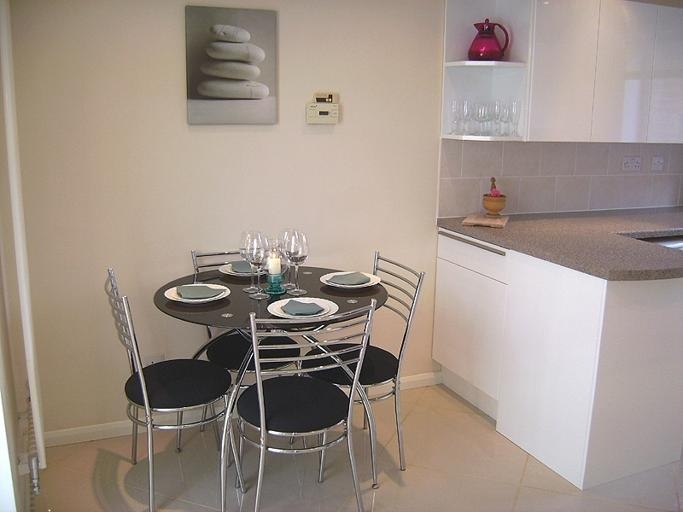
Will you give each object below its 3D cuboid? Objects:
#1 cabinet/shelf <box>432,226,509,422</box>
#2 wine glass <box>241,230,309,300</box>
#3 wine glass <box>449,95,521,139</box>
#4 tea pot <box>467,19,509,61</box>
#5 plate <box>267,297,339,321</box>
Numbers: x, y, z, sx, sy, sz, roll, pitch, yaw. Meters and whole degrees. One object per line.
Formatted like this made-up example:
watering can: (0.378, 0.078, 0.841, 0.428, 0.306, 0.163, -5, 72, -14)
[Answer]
cabinet/shelf: (0.792, 0.340, 3.384, 0.171, 0.951, 0.689, -6, 13, -17)
wine glass: (-0.358, 0.021, 2.797, 0.330, 0.313, 0.343, -4, 13, -12)
wine glass: (0.890, -0.880, 3.370, 0.378, 0.261, 0.329, -6, 13, -18)
tea pot: (0.928, -1.361, 3.340, 0.221, 0.282, 0.271, 6, 15, 29)
plate: (-0.174, 0.247, 2.436, 0.157, 0.018, 0.157, -6, 17, -24)
